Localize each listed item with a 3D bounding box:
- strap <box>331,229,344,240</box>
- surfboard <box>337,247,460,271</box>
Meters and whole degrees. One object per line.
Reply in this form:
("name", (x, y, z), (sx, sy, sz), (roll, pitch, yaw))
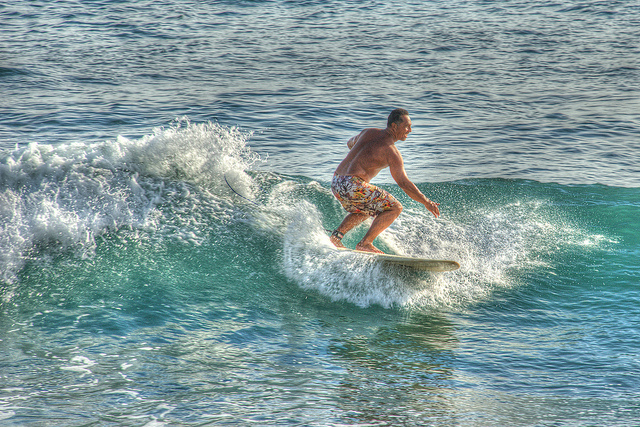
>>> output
("strap", (0.409, 0.438, 21.415), (0.260, 0.226, 0.152), (27, 80, 22))
("surfboard", (1.607, 0.981, 21.057), (3.372, 0.306, 0.161), (4, 48, 10))
